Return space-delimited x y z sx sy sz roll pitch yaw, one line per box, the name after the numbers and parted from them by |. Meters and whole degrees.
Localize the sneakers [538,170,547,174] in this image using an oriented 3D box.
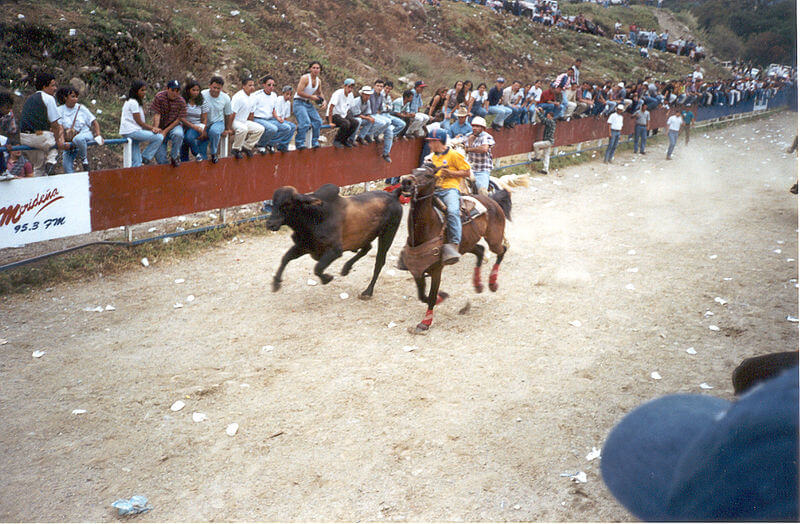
4.998 -3.171 21.413 0.099 0.125 0.290 -7 25 -17 | sneakers

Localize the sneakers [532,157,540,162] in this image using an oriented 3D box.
4.895 -3.717 22.079 0.162 0.060 0.164 21 32 38 | sneakers

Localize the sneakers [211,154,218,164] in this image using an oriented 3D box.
-3.903 -2.197 13.024 0.077 0.206 0.086 -12 -8 -6 | sneakers

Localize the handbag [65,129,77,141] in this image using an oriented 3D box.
-6.172 -2.400 11.563 0.188 0.200 0.211 1 0 -1 | handbag

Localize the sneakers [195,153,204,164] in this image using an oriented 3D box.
-4.148 -2.189 12.836 0.086 0.186 0.265 -2 15 6 | sneakers

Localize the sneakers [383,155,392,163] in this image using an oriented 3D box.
-0.319 -2.852 16.909 0.122 0.254 0.529 1 16 16 | sneakers

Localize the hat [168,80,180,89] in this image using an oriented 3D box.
-4.478 -3.528 12.216 0.211 0.188 0.349 -9 16 -21 | hat

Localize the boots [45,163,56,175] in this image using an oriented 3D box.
-6.328 -1.724 11.170 0.164 0.178 0.146 -13 18 -32 | boots

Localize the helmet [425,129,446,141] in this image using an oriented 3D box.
0.663 -2.210 10.643 0.294 0.221 0.311 -3 15 0 | helmet

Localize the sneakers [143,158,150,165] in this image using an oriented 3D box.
-5.087 -2.047 12.397 0.111 0.119 0.216 -9 17 -22 | sneakers
